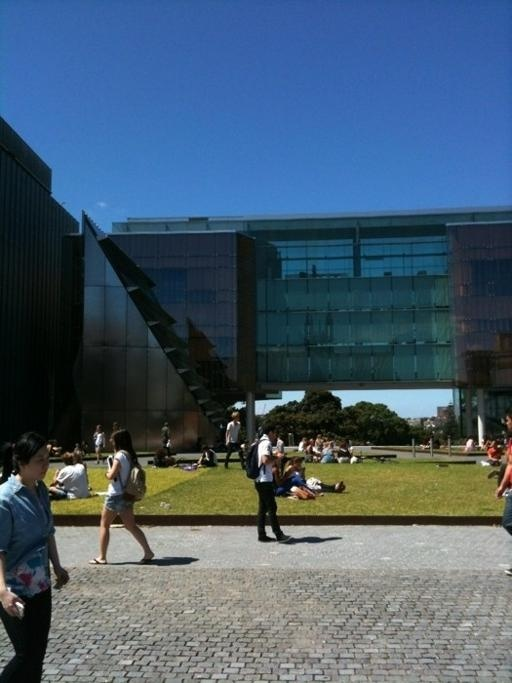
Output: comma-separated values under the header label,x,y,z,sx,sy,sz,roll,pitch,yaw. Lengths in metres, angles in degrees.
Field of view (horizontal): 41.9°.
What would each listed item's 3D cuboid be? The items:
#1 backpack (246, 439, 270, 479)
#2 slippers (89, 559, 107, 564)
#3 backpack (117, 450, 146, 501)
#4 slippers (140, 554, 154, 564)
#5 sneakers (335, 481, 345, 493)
label,x,y,z,sx,sy,sz,roll,pitch,yaw
backpack,-0.005,1.568,8.840,0.247,0.538,0.478,3,-7,-18
slippers,-1.750,2.435,7.405,0.140,0.048,0.080,5,-19,6
backpack,-1.282,1.544,7.499,0.338,0.612,0.438,-3,-12,11
slippers,-1.213,2.421,7.461,0.149,0.085,0.252,2,-7,-10
sneakers,1.817,3.138,14.419,0.156,0.189,0.471,0,-24,-1
